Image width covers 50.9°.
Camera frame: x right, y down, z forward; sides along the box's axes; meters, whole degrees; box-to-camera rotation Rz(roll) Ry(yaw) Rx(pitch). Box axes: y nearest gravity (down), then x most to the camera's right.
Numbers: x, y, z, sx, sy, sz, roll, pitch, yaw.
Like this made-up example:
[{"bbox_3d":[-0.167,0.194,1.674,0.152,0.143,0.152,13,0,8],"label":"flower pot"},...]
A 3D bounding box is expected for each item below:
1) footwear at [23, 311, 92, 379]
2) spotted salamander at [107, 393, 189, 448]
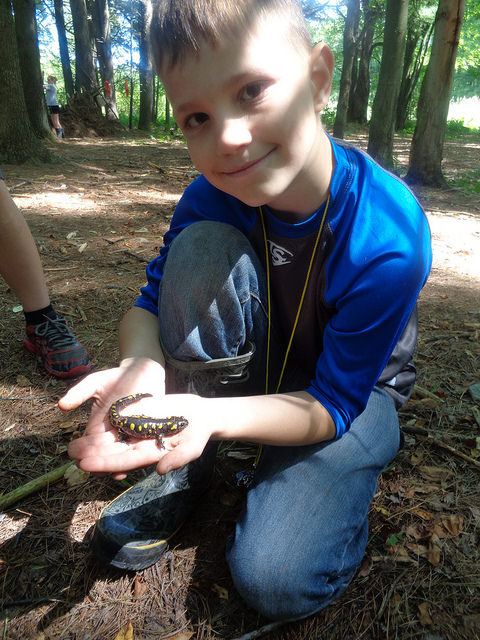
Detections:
[{"bbox_3d":[-1.331,0.196,3.718,0.716,0.335,0.282,34,49,32],"label":"footwear"},{"bbox_3d":[-0.402,0.461,2.202,0.206,0.151,0.364,-17,32,-38],"label":"spotted salamander"}]
